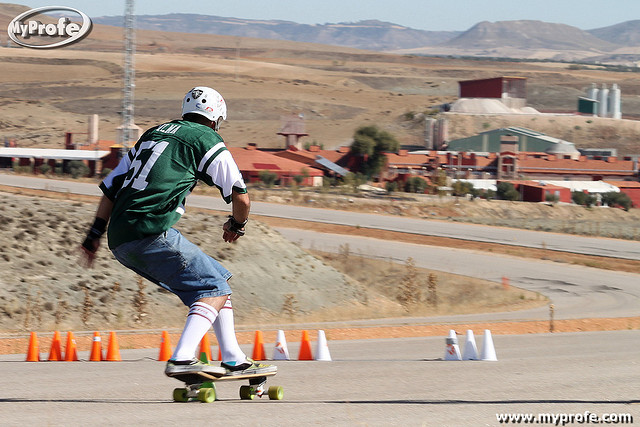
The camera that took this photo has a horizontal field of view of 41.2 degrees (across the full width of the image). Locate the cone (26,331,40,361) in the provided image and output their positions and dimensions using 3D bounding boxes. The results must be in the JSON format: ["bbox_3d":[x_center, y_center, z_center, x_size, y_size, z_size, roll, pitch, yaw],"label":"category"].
[{"bbox_3d":[-5.229,2.468,15.666,0.217,0.538,0.328,10,10,-15],"label":"cone"}]

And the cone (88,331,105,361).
[{"bbox_3d":[-4.072,2.466,15.738,0.267,0.602,0.408,10,9,-12],"label":"cone"}]

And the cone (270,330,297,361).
[{"bbox_3d":[-0.673,2.563,16.324,0.355,0.568,0.664,11,8,-1],"label":"cone"}]

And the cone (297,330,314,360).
[{"bbox_3d":[-0.228,2.562,16.676,0.299,0.606,0.685,12,9,0],"label":"cone"}]

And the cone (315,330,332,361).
[{"bbox_3d":[0.092,2.543,16.284,0.332,0.524,0.410,12,9,1],"label":"cone"}]
